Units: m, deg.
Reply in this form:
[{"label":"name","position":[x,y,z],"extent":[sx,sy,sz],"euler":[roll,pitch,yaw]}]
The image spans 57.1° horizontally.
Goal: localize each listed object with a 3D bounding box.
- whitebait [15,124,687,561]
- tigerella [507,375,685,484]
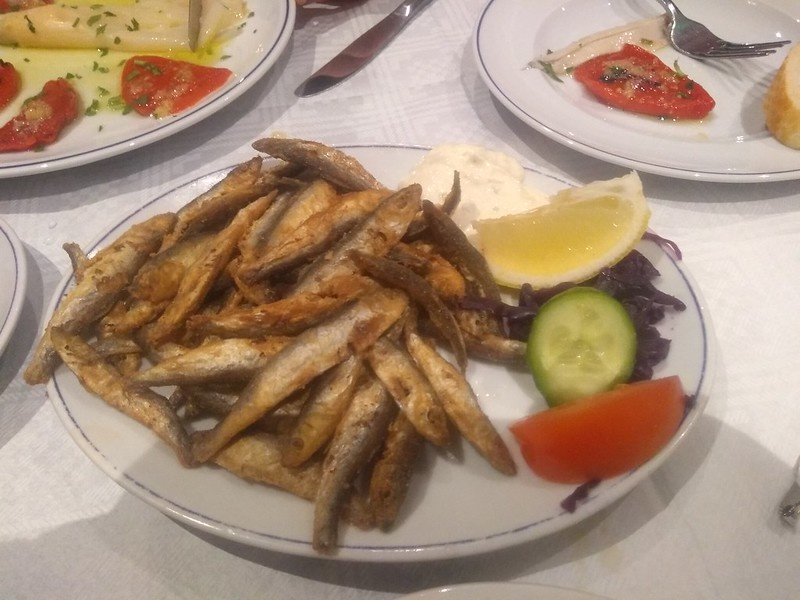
[{"label":"whitebait","position":[-0.101,-0.012,2.665],"extent":[2.209,1.273,1.932],"euler":[-17,26,-25]},{"label":"tigerella","position":[0.675,0.444,2.471],"extent":[0.557,0.238,0.269],"euler":[-17,40,10]}]
